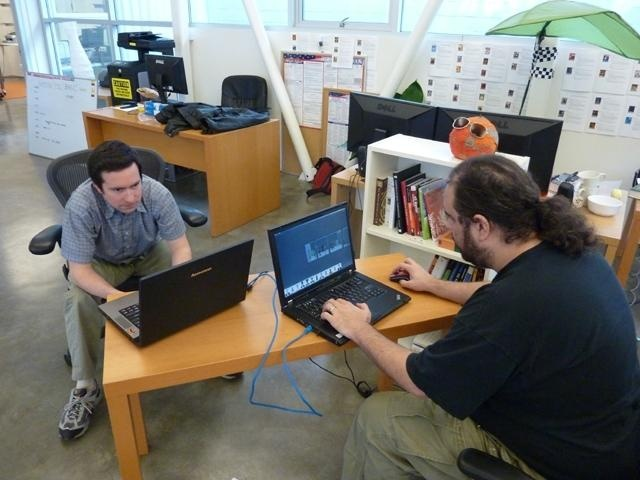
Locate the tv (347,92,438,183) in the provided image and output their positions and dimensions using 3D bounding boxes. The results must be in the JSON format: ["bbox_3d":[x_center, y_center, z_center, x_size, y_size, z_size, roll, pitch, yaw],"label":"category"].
[{"bbox_3d":[0.422,-0.602,2.868,0.650,0.547,0.212,17,35,30],"label":"tv"}]

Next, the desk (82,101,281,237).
[{"bbox_3d":[-1.171,-0.580,4.499,2.111,1.130,1.172,18,29,35],"label":"desk"}]

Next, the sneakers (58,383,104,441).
[{"bbox_3d":[-1.201,0.842,2.379,0.208,0.182,0.216,-10,28,-22],"label":"sneakers"}]

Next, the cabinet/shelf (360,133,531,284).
[{"bbox_3d":[0.566,-0.150,2.165,0.672,0.624,0.360,16,21,36],"label":"cabinet/shelf"}]

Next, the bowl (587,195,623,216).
[{"bbox_3d":[1.634,-0.201,2.722,0.146,0.065,0.141,1,23,0],"label":"bowl"}]

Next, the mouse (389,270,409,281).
[{"bbox_3d":[0.360,0.164,2.155,0.072,0.021,0.045,-3,32,-2],"label":"mouse"}]

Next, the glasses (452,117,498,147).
[{"bbox_3d":[0.776,-0.557,2.350,0.163,0.180,0.062,14,68,20],"label":"glasses"}]

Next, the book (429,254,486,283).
[{"bbox_3d":[0.754,0.162,2.631,0.164,0.158,0.214,-2,-5,20],"label":"book"}]

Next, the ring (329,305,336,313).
[{"bbox_3d":[0.045,0.274,1.890,0.021,0.008,0.028,-4,35,2],"label":"ring"}]

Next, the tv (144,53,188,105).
[{"bbox_3d":[-1.449,-1.526,4.523,0.494,0.418,0.192,23,34,37],"label":"tv"}]
